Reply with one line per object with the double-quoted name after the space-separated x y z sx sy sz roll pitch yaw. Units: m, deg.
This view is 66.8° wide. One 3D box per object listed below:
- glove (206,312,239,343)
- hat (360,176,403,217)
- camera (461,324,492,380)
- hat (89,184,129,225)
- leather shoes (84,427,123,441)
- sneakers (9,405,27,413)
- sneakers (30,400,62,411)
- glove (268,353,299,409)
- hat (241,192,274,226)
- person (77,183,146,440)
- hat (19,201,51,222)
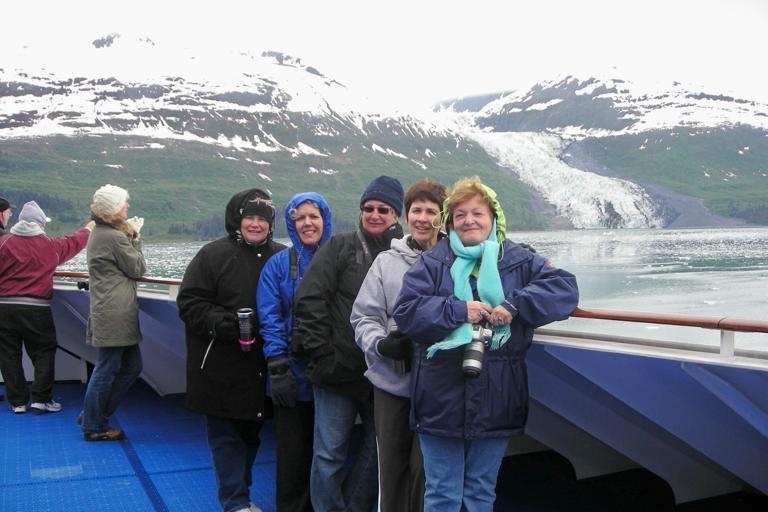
-1.247 0.549 4.487 0.232 0.231 0.082 -2 10 -14 "glove"
0.012 -0.462 4.345 0.303 0.261 0.295 27 -3 1 "hat"
0.536 0.542 3.372 0.122 0.276 0.200 6 11 27 "camera"
-2.738 -0.519 5.780 0.326 0.365 0.341 -2 10 -17 "hat"
-2.821 1.809 5.880 0.374 0.131 0.138 -1 4 -17 "leather shoes"
-4.109 1.709 6.533 0.075 0.072 0.175 1 0 -22 "sneakers"
-3.815 1.692 6.612 0.357 0.137 0.129 2 5 -28 "sneakers"
-0.760 0.924 4.229 0.237 0.333 0.098 -6 -12 1 "glove"
-0.993 -0.382 4.749 0.235 0.243 0.286 16 0 -19 "hat"
-2.697 0.585 5.840 0.544 2.566 0.650 6 12 29 "person"
-3.940 -0.472 6.511 0.259 0.271 0.515 -5 11 -31 "hat"
